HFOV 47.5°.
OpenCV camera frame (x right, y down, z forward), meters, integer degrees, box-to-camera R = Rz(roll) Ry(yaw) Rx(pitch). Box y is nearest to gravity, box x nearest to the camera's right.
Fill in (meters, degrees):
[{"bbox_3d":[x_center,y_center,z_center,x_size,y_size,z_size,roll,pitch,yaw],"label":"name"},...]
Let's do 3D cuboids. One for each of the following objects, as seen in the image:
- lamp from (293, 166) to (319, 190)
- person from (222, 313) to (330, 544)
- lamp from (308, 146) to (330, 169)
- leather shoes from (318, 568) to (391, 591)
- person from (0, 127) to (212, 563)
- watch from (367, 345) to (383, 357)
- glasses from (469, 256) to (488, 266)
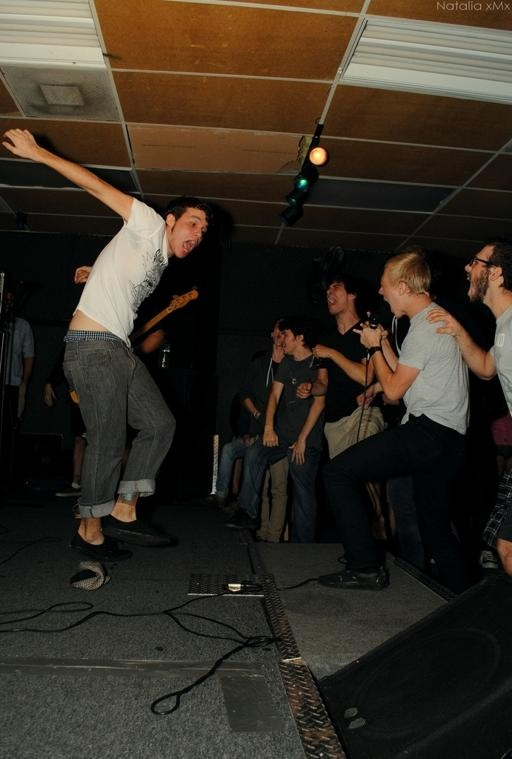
[{"bbox_3d":[0.324,-1.312,3.794,0.127,0.130,0.206,3,-3,-7],"label":"lamp"},{"bbox_3d":[0.234,0.299,3.782,0.545,1.430,0.699,6,-5,-43],"label":"person"},{"bbox_3d":[0.374,-1.367,3.568,0.130,0.113,0.064,-7,3,14],"label":"lamp"},{"bbox_3d":[0.398,0.818,2.422,0.316,0.106,0.098,1,-3,7],"label":"leather shoes"},{"bbox_3d":[-0.584,-0.055,2.357,0.673,1.715,0.704,2,-4,2],"label":"person"},{"bbox_3d":[0.517,-0.120,2.550,0.064,0.046,0.059,-1,-4,4],"label":"watch"},{"bbox_3d":[0.839,-0.453,2.186,0.050,0.013,0.045,9,-1,-1],"label":"glasses"}]
